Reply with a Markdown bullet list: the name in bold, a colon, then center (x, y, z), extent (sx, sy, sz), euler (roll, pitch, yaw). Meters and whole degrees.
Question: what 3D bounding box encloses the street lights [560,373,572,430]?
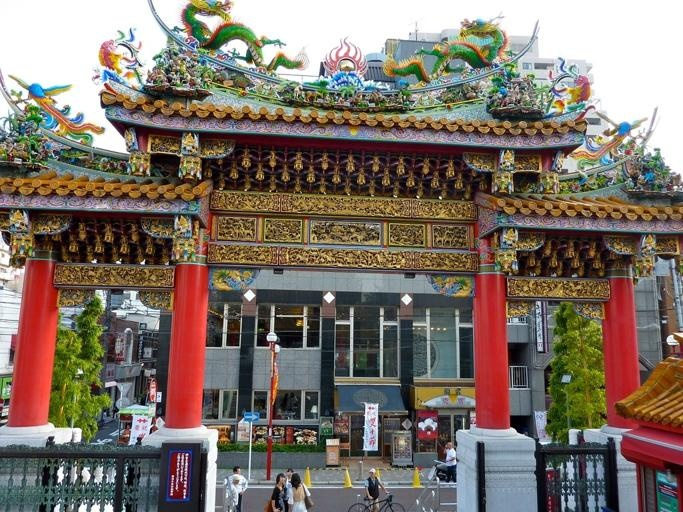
- **street lights**: center (8.254, 5.307, 22.901), extent (0.275, 1.953, 0.943), euler (0, -6, 10)
